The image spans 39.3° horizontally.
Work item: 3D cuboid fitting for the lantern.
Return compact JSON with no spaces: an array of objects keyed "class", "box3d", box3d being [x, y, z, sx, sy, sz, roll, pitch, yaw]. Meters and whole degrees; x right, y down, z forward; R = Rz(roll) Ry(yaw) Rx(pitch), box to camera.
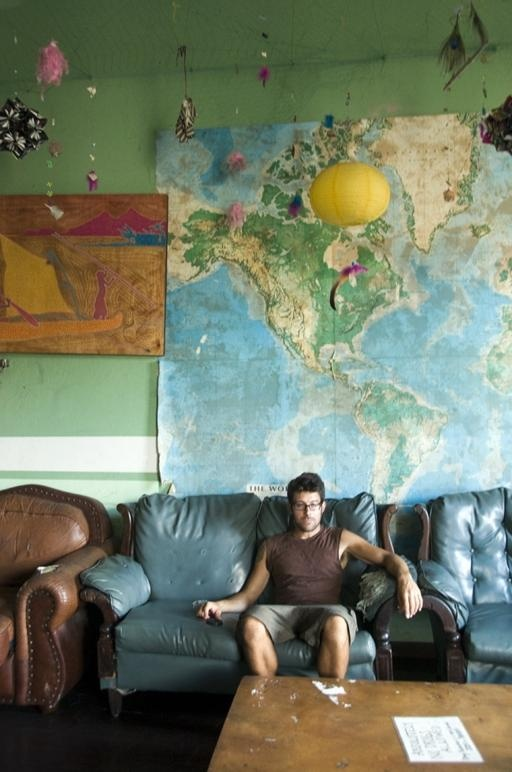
[{"class":"lantern","box3d":[0.406,-0.795,3.104,0.286,0.211,0.291,6,14,33]}]
